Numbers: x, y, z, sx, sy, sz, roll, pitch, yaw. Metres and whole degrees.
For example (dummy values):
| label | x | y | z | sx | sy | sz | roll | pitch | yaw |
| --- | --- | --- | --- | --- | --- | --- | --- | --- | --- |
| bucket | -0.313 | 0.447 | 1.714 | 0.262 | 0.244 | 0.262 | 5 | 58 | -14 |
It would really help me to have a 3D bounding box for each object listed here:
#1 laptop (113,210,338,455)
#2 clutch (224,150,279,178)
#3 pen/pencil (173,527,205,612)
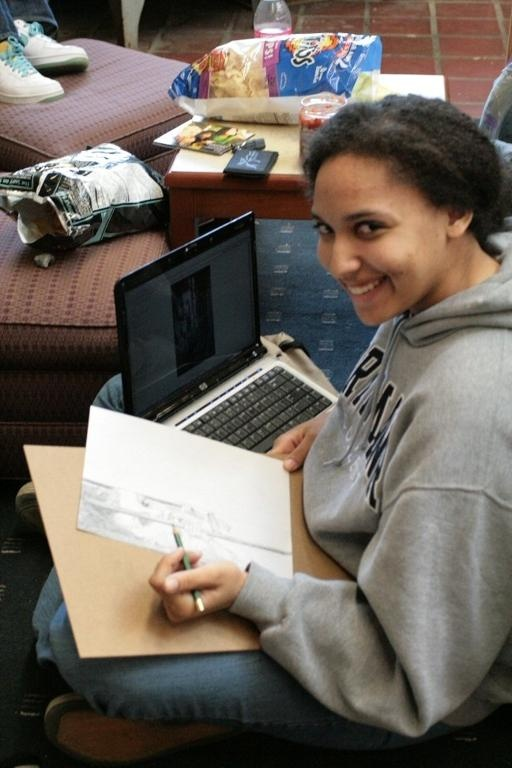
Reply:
| label | x | y | z | sx | sy | sz | roll | pitch | yaw |
| --- | --- | --- | --- | --- | --- | --- | --- | --- | --- |
| laptop | -0.160 | -0.114 | 1.258 | 0.380 | 0.381 | 0.510 | 8 | 20 | 37 |
| clutch | -0.013 | -0.512 | 1.524 | 0.098 | 0.023 | 0.092 | 8 | 47 | 15 |
| pen/pencil | -0.075 | 0.206 | 0.722 | 0.011 | 0.010 | 0.097 | 7 | 42 | -31 |
